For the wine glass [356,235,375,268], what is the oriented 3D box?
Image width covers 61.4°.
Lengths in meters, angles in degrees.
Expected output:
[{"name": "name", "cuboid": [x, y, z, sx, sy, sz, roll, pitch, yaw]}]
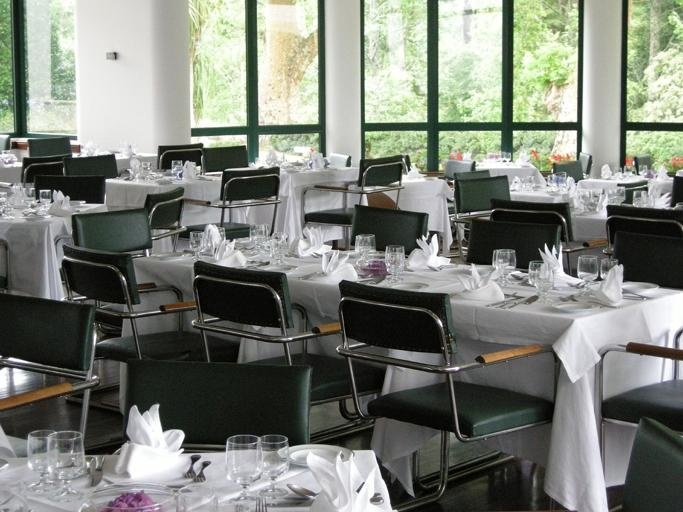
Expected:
[{"name": "wine glass", "cuboid": [0.131, -0.008, 3.312, 0.122, 0.209, 0.130, 6, -23, -13]}]

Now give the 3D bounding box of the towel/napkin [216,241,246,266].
[{"name": "towel/napkin", "cuboid": [-0.684, -0.029, 3.453, 0.132, 0.070, 0.177, -3, 13, -26]}]

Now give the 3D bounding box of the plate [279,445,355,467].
[{"name": "plate", "cuboid": [-0.065, 0.475, 1.379, 0.108, 0.013, 0.107, -2, 2, -42]}]

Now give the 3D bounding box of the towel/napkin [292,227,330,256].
[{"name": "towel/napkin", "cuboid": [-0.238, -0.107, 4.114, 0.383, 0.202, 0.449, -1, 1, -4]}]

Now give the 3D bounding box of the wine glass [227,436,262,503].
[{"name": "wine glass", "cuboid": [-0.207, 0.457, 1.225, 0.076, 0.134, 0.080, -1, -1, -11]}]

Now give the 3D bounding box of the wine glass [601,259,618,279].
[{"name": "wine glass", "cuboid": [1.291, 0.065, 2.776, 0.088, 0.100, 0.094, -1, 3, -3]}]

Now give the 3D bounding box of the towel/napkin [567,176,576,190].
[{"name": "towel/napkin", "cuboid": [2.495, -0.793, 6.316, 0.099, 0.141, 0.135, 3, 2, -4]}]

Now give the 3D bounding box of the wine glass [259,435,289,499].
[{"name": "wine glass", "cuboid": [-0.147, 0.453, 1.242, 0.071, 0.126, 0.075, -1, -2, 23]}]

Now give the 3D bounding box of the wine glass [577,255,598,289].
[{"name": "wine glass", "cuboid": [1.225, 0.093, 2.853, 0.118, 0.161, 0.125, 2, 1, -2]}]

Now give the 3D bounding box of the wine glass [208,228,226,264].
[{"name": "wine glass", "cuboid": [-0.767, -0.048, 3.529, 0.065, 0.167, 0.051, -9, -9, -16]}]

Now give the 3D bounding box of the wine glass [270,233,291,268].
[{"name": "wine glass", "cuboid": [-0.390, -0.039, 3.571, 0.097, 0.184, 0.098, -4, 12, -17]}]

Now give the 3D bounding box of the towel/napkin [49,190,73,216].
[{"name": "towel/napkin", "cuboid": [-2.358, -0.448, 4.833, 0.194, 0.112, 0.257, 4, 4, -44]}]

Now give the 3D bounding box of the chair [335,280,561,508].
[{"name": "chair", "cuboid": [0.357, 0.426, 2.778, 0.974, 1.284, 0.892, -6, 8, -40]}]

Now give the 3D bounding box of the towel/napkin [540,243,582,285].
[{"name": "towel/napkin", "cuboid": [1.146, 0.058, 3.147, 0.205, 0.189, 0.319, -9, 7, -9]}]

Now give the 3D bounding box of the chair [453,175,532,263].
[{"name": "chair", "cuboid": [1.382, -0.333, 5.964, 0.782, 1.012, 0.706, -1, 0, -26]}]

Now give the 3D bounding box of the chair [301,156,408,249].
[{"name": "chair", "cuboid": [0.114, -0.429, 6.750, 1.098, 1.611, 1.175, 5, 4, 16]}]

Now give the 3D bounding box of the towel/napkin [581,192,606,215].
[{"name": "towel/napkin", "cuboid": [2.336, -0.494, 5.393, 0.206, 0.217, 0.249, -1, 1, -7]}]

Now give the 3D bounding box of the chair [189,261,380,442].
[{"name": "chair", "cuboid": [-0.322, 0.573, 2.928, 0.696, 0.967, 0.762, -5, -5, 33]}]
